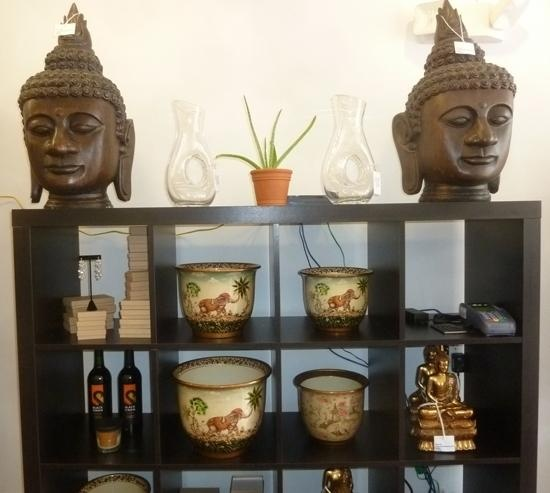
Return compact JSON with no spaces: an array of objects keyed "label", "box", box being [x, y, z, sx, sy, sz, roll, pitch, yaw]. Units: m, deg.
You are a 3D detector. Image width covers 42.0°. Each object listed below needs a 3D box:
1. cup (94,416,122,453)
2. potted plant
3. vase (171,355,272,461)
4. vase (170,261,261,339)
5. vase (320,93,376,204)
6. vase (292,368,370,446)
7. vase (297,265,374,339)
[{"label":"cup","box":[-0.521,0.595,2.253,0.086,0.098,0.090,0,9,0]},{"label":"potted plant","box":[0.018,-0.283,2.454,0.317,0.402,0.414,-1,-3,9]},{"label":"vase","box":[-0.182,0.486,2.313,0.278,0.232,0.287,3,6,29]},{"label":"vase","box":[-0.183,0.153,2.292,0.230,0.180,0.226,-2,2,-44]},{"label":"vase","box":[0.235,-0.308,2.320,0.179,0.355,0.095,-5,-5,4]},{"label":"vase","box":[0.183,0.535,2.374,0.243,0.194,0.241,0,3,-24]},{"label":"vase","box":[0.200,0.175,2.367,0.199,0.160,0.206,1,6,23]}]
